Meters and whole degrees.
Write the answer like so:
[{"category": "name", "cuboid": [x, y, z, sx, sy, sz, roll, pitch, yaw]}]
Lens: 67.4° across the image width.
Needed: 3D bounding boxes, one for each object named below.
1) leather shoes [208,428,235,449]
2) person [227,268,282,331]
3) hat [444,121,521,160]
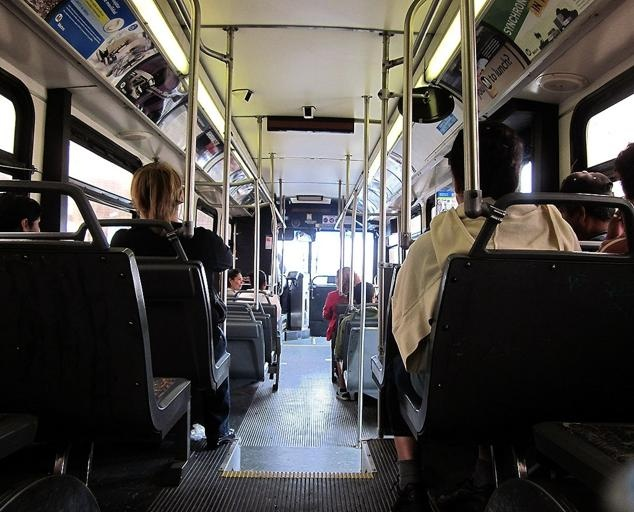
[{"category": "leather shoes", "cuboid": [-0.614, 1.199, 3.084, 0.172, 0.081, 0.064, -15, 15, -34]}, {"category": "person", "cuboid": [-0.849, 0.600, 6.520, 0.965, 0.734, 0.720, 2, -6, -9]}, {"category": "hat", "cuboid": [0.724, -0.530, 2.113, 0.252, 0.103, 0.191, -7, -2, 15]}]
